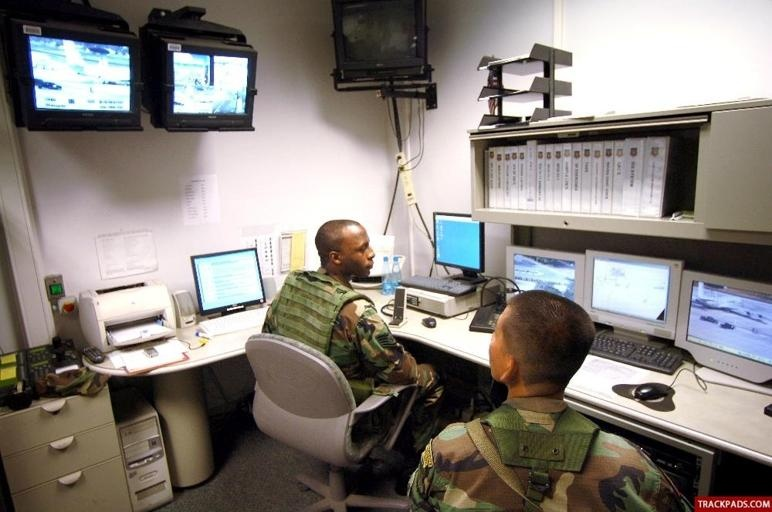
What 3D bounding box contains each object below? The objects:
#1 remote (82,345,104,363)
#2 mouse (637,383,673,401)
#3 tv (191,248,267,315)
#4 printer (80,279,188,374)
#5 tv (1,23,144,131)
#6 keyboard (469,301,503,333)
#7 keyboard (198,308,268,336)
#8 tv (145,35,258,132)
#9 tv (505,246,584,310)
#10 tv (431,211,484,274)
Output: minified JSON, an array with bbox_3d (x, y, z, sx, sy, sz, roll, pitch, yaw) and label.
[{"bbox_3d":[-1.746,0.582,3.198,0.076,0.044,0.151,-22,28,-39],"label":"remote"},{"bbox_3d":[1.312,0.658,2.623,0.137,0.043,0.082,-3,13,-2],"label":"mouse"},{"bbox_3d":[-1.120,0.185,3.739,0.424,0.396,0.122,-11,3,-26],"label":"tv"},{"bbox_3d":[-1.571,0.382,3.304,0.437,0.362,0.601,-12,40,-36],"label":"printer"},{"bbox_3d":[-1.783,-0.952,3.212,0.840,0.765,0.525,-6,22,-36],"label":"tv"},{"bbox_3d":[0.630,0.400,3.388,0.161,0.039,0.226,-8,20,24],"label":"keyboard"},{"bbox_3d":[-0.998,0.443,3.575,0.340,0.036,0.195,-12,21,-32],"label":"keyboard"},{"bbox_3d":[-1.101,-1.014,3.396,0.743,0.666,0.514,-6,28,-33],"label":"tv"},{"bbox_3d":[1.005,0.069,3.392,0.582,0.477,0.313,7,10,39],"label":"tv"},{"bbox_3d":[0.503,-0.106,3.715,0.038,0.324,0.444,-13,16,-34],"label":"tv"}]
